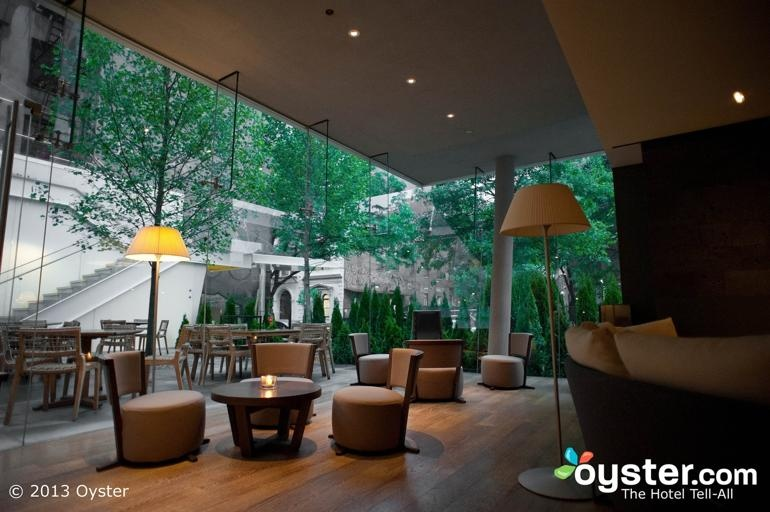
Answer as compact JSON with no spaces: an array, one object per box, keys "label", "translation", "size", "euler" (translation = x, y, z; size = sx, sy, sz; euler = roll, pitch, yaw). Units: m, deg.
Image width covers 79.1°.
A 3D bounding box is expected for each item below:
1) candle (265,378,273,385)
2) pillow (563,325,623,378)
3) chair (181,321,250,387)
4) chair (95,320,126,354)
[{"label":"candle","translation":[-1.152,1.244,4.650],"size":[0.064,0.072,0.064],"euler":[0,-4,-17]},{"label":"pillow","translation":[1.564,0.701,3.549],"size":[0.123,0.321,0.319],"euler":[-14,2,-25]},{"label":"chair","translation":[-2.760,1.598,7.592],"size":[0.408,0.744,1.089],"euler":[2,-4,-41]},{"label":"chair","translation":[-4.082,1.180,6.979],"size":[0.532,0.615,0.443],"euler":[8,-15,-32]}]
